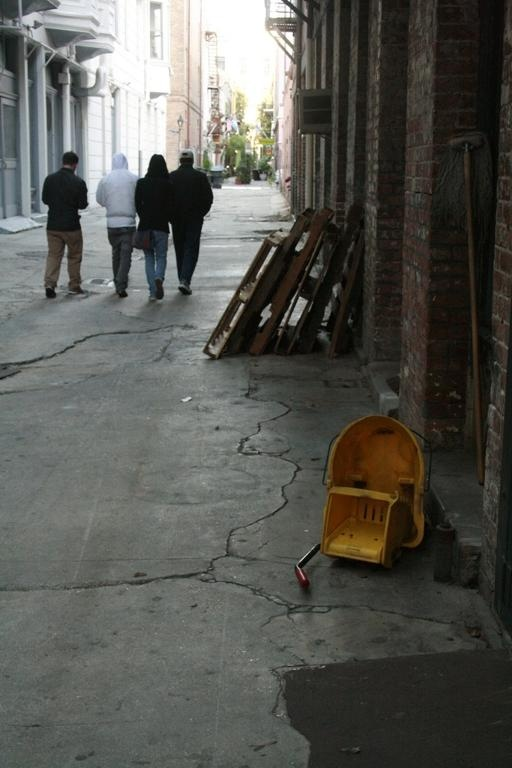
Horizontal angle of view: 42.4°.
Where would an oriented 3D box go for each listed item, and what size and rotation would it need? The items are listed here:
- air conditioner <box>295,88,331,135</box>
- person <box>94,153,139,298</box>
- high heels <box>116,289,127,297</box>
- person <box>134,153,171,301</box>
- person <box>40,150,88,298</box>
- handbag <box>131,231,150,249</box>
[{"bbox_3d":[1.035,-4.846,11.693,0.593,0.872,0.521,0,5,4],"label":"air conditioner"},{"bbox_3d":[-2.233,-2.469,10.872,0.722,2.105,0.505,1,5,13],"label":"person"},{"bbox_3d":[-2.260,-1.497,11.020,0.096,0.148,0.256,0,-2,-1],"label":"high heels"},{"bbox_3d":[-1.656,-2.514,10.691,0.562,2.342,0.573,-1,5,-11],"label":"person"},{"bbox_3d":[-3.166,-2.622,10.973,0.688,2.433,0.952,-1,5,-18],"label":"person"},{"bbox_3d":[-1.810,-2.284,10.473,0.317,0.329,0.126,4,5,23],"label":"handbag"}]
